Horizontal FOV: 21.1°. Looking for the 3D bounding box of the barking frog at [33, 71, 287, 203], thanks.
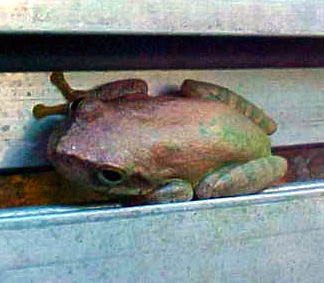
[{"bbox_3d":[0.030,-0.019,4.676,1.284,0.643,0.358,-4,6,-12],"label":"barking frog"}]
